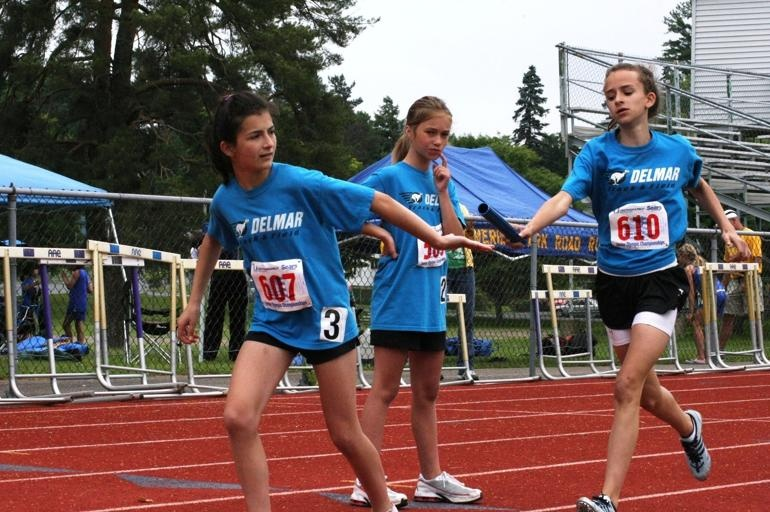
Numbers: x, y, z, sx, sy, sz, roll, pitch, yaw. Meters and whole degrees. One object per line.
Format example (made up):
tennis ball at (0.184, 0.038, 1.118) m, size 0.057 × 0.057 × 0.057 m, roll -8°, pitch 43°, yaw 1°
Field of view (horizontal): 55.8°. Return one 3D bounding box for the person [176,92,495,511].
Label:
person at (-0.412, 0.242, 3.788) m, size 1.058 × 2.224 × 0.482 m, roll -1°, pitch -2°, yaw -4°

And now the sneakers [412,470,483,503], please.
sneakers at (0.417, 1.507, 4.782) m, size 0.457 × 0.185 × 0.178 m, roll 1°, pitch -7°, yaw 4°

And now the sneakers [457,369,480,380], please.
sneakers at (1.263, 1.771, 10.889) m, size 0.136 × 0.160 × 0.392 m, roll 2°, pitch -1°, yaw -11°

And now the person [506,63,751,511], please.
person at (1.461, 0.068, 4.442) m, size 1.234 × 2.618 × 0.542 m, roll 1°, pitch -2°, yaw -44°
